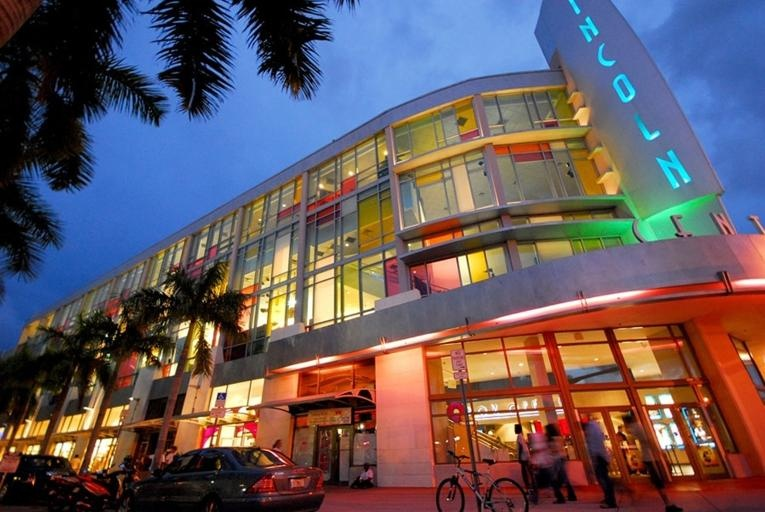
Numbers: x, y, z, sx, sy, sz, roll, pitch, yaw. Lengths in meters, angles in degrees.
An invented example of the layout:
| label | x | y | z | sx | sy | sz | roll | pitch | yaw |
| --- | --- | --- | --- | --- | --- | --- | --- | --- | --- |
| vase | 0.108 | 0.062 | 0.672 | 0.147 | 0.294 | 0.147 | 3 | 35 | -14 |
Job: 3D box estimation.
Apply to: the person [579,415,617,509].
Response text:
| label | x | y | z | sx | sy | sz | roll | pitch | yaw |
| --- | --- | --- | --- | --- | --- | --- | --- | --- | --- |
| person | 6.894 | 6.512 | 13.380 | 0.595 | 2.542 | 1.458 | -14 | -33 | 20 |

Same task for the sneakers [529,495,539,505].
| label | x | y | z | sx | sy | sz | roll | pitch | yaw |
| --- | --- | --- | --- | --- | --- | --- | --- | --- | --- |
| sneakers | 5.096 | 8.160 | 14.184 | 0.279 | 0.266 | 0.265 | -11 | -25 | 20 |

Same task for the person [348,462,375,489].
| label | x | y | z | sx | sy | sz | roll | pitch | yaw |
| --- | --- | --- | --- | --- | --- | --- | --- | --- | --- |
| person | -0.900 | 10.360 | 19.821 | 1.106 | 1.049 | 1.389 | 1 | -31 | -4 |
